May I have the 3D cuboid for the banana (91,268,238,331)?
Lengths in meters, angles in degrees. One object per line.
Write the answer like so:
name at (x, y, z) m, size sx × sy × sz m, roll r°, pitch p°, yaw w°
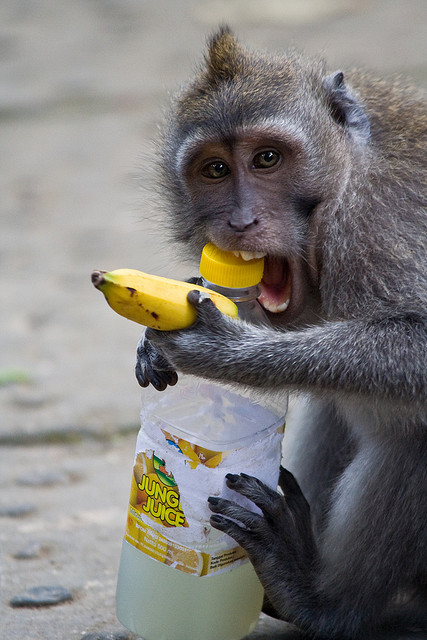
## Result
banana at (-0.139, -0.070, 2.038) m, size 0.460 × 0.153 × 0.128 m, roll 9°, pitch 48°, yaw 48°
